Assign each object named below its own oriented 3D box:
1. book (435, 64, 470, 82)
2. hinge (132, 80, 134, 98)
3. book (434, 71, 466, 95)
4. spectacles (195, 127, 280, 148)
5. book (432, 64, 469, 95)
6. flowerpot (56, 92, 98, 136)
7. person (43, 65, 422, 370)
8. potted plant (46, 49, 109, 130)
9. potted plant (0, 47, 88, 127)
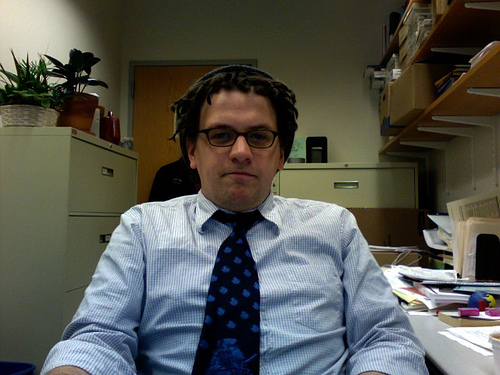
[{"bbox_3d":[0.975,-0.565,1.943,0.104,0.028,0.110,-1,1,4],"label":"book"},{"bbox_3d":[-1.059,-0.889,3.638,0.021,0.125,0.010,4,-2,-18],"label":"hinge"},{"bbox_3d":[0.896,-0.464,1.796,0.132,0.033,0.142,-12,-28,-1],"label":"book"},{"bbox_3d":[-0.035,-0.158,1.284,0.261,0.071,0.050,4,-2,-3],"label":"spectacles"},{"bbox_3d":[0.933,-0.504,1.860,0.152,0.039,0.161,-7,-12,2],"label":"book"},{"bbox_3d":[-0.925,-0.399,2.237,0.203,0.226,0.225,15,-12,-17],"label":"flowerpot"},{"bbox_3d":[-0.020,0.083,1.264,1.023,0.965,0.380,4,-2,-4],"label":"person"},{"bbox_3d":[-0.985,-0.555,2.251,0.325,0.466,0.264,-2,7,-40],"label":"potted plant"},{"bbox_3d":[-1.117,-0.479,2.152,0.425,0.340,0.448,-3,-5,19],"label":"potted plant"}]
